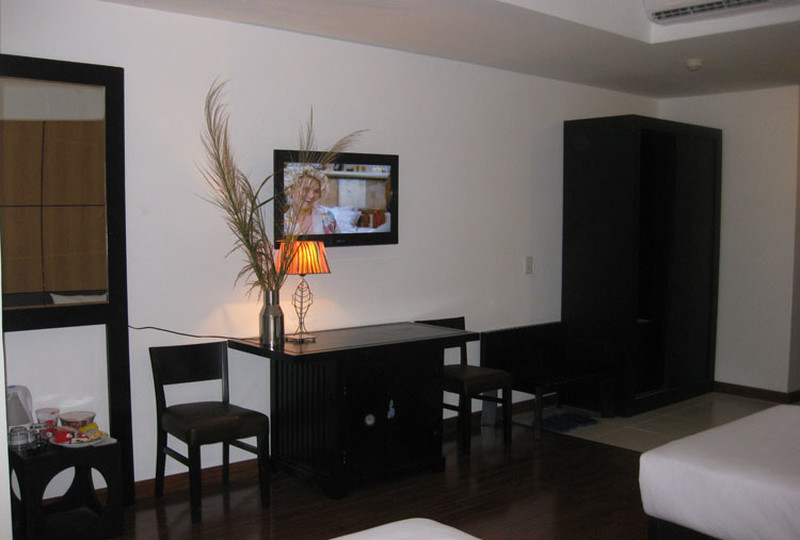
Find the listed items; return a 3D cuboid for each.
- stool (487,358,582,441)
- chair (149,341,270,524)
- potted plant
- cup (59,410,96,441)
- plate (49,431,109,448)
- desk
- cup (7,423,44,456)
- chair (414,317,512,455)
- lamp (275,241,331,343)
[{"bbox_3d":[1.257,1.043,5.404,0.766,0.379,0.535,-1,3,-37],"label":"stool"},{"bbox_3d":[-1.297,1.030,4.123,0.693,1.038,0.597,1,1,41],"label":"chair"},{"bbox_3d":[-0.914,-0.427,4.392,0.951,1.816,0.608,-2,8,-18],"label":"potted plant"},{"bbox_3d":[-1.984,0.947,3.768,0.159,0.086,0.162,1,-5,0],"label":"cup"},{"bbox_3d":[-1.925,1.023,3.680,0.316,0.067,0.127,-3,9,-28],"label":"plate"},{"bbox_3d":[-0.281,0.952,4.731,1.581,1.038,0.864,4,-1,-33],"label":"desk"},{"bbox_3d":[-2.216,0.983,3.626,0.215,0.129,0.144,5,9,32],"label":"cup"},{"bbox_3d":[0.543,0.944,5.148,0.713,0.963,0.669,1,2,38],"label":"chair"},{"bbox_3d":[-0.715,0.129,4.499,0.364,0.709,0.550,-1,8,-8],"label":"lamp"}]
